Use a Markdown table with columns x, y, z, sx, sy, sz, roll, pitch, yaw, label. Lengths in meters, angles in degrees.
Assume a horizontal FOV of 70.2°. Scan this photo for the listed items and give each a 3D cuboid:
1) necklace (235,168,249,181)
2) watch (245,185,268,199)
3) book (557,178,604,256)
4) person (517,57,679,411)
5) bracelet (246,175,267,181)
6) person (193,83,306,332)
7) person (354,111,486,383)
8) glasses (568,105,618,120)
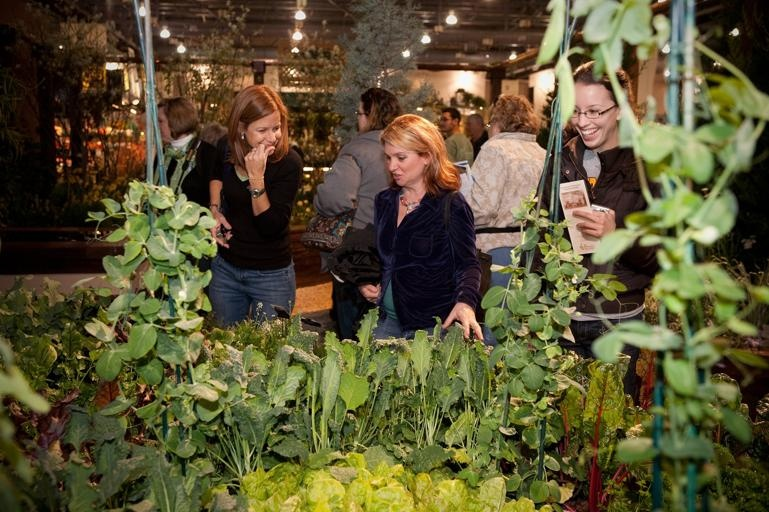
| x | y | z | sx | sy | sz | roll | pitch | yaw | label |
| --- | --- | --- | --- | --- | --- | --- | --- | --- | --- |
| -0.788 | -0.455 | 3.015 | 0.067 | 0.064 | 0.016 | 9 | -2 | 5 | necklace |
| -0.683 | -0.348 | 2.911 | 0.068 | 0.048 | 0.082 | 5 | 5 | -5 | watch |
| 0.747 | -0.152 | 2.106 | 0.276 | 0.295 | 0.152 | -4 | 9 | -41 | book |
| 0.843 | -0.082 | 2.240 | 0.513 | 1.488 | 1.179 | 5 | 7 | 24 | person |
| -0.679 | -0.411 | 2.863 | 0.082 | 0.014 | 0.034 | -5 | 44 | 7 | bracelet |
| -0.747 | -0.266 | 3.052 | 0.538 | 1.333 | 0.641 | 1 | 7 | -8 | person |
| 0.189 | -0.108 | 2.456 | 0.441 | 1.094 | 0.920 | 0 | 7 | -15 | person |
| 0.849 | -0.590 | 2.203 | 0.169 | 0.066 | 0.049 | 2 | 7 | 3 | glasses |
